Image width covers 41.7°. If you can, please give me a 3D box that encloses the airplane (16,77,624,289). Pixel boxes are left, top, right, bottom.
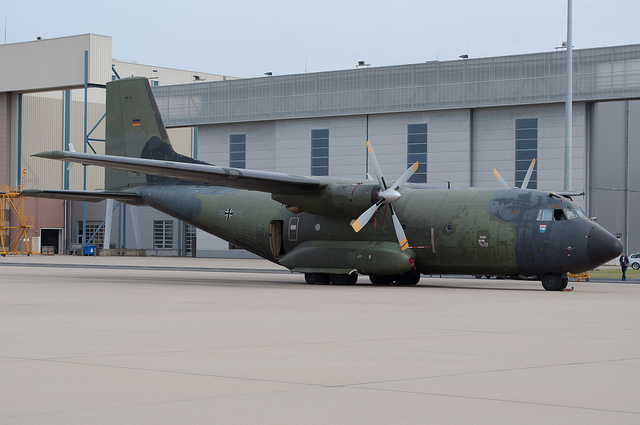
[{"bbox_3d":[-0.084,0.145,29.216,14.278,4.106,13.607,1,1,30],"label":"airplane"}]

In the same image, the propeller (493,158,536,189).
[{"bbox_3d":[7.556,-1.384,32.127,1.266,1.168,2.807,-20,0,7],"label":"propeller"}]
